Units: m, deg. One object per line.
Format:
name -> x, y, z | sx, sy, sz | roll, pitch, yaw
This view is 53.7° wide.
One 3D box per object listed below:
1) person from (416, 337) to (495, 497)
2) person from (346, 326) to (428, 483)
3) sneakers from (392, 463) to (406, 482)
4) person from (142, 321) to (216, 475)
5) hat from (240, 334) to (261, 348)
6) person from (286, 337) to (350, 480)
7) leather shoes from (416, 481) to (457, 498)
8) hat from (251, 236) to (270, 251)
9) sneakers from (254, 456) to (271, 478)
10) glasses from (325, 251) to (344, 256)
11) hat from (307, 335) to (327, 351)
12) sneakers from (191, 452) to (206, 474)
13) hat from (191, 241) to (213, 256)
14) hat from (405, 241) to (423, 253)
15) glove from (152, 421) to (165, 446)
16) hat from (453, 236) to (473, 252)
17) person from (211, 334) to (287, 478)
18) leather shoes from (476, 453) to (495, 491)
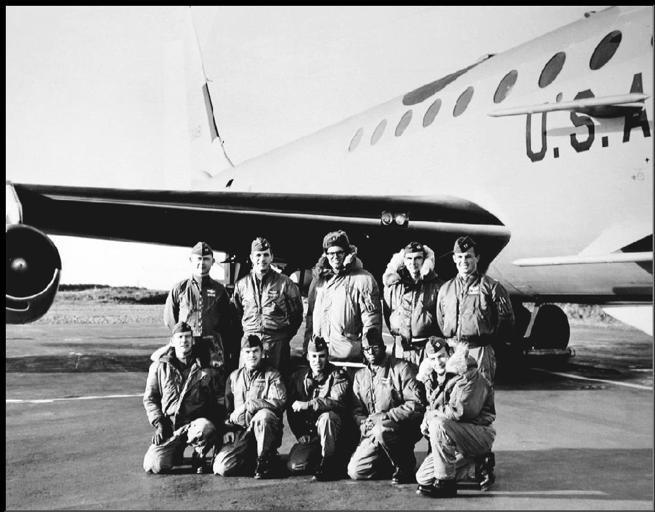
person -> 1.092, 1.350, 5.479 | 0.662, 1.213, 0.548 | 0, 2, 8
person -> 0.523, 1.294, 5.728 | 0.669, 1.265, 0.510 | 0, 2, 9
sneakers -> 0.612, 1.862, 5.528 | 0.109, 0.145, 0.056 | 0, 2, 1
person -> -1.333, 1.258, 5.901 | 0.654, 1.265, 0.652 | -1, 2, -13
hat -> -0.701, 0.786, 5.978 | 0.114, 0.097, 0.171 | -1, -9, -8
person -> -0.112, 1.313, 5.776 | 0.593, 1.158, 0.582 | 0, 2, 16
leather shoes -> 0.910, 1.910, 5.370 | 0.324, 0.164, 0.129 | 4, -7, -1
hat -> -0.691, -0.111, 6.728 | 0.165, 0.125, 0.200 | 0, 2, 0
sneakers -> -0.554, 1.821, 5.599 | 0.111, 0.183, 0.063 | 5, -14, 5
glasses -> 0.080, -0.032, 6.466 | 0.161, 0.052, 0.061 | 0, 2, 2
hat -> -0.092, 0.795, 5.893 | 0.115, 0.114, 0.140 | 1, -1, 10
sneakers -> -1.134, 1.828, 5.705 | 0.111, 0.185, 0.046 | -4, -9, 15
hat -> -1.408, -0.089, 7.289 | 0.183, 0.113, 0.281 | 0, -2, -11
hat -> 0.891, -0.079, 6.577 | 0.205, 0.091, 0.120 | -1, 2, -10
glove -> -1.498, 1.610, 5.782 | 0.116, 0.214, 0.057 | -3, -39, -1
hat -> 1.335, -0.136, 6.384 | 0.160, 0.118, 0.194 | -5, -11, 8
person -> -0.678, 1.313, 5.820 | 0.601, 1.153, 0.606 | 0, 2, 8
leather shoes -> 1.313, 1.801, 5.388 | 0.181, 0.323, 0.253 | -2, -36, 16
